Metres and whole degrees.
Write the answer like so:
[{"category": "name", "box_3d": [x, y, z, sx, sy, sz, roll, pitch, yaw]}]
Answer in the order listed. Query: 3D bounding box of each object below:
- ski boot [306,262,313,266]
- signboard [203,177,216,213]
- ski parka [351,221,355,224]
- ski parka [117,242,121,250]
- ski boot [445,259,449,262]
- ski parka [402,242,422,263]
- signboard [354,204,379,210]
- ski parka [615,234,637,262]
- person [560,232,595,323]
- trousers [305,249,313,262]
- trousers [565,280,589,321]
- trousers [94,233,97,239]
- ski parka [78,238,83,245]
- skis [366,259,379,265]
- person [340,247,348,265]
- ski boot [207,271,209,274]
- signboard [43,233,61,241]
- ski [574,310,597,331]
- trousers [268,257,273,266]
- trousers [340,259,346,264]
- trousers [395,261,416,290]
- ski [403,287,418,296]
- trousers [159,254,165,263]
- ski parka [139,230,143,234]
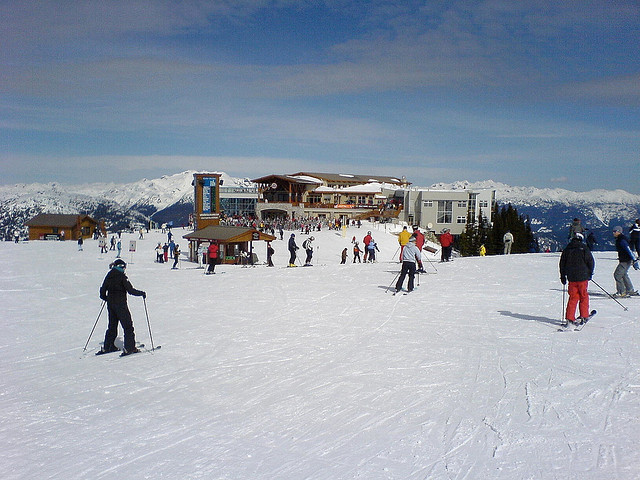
[{"category": "ski boot", "box_3d": [-0.657, 1.348, 35.377, 0.187, 0.260, 0.604, 1, -7, -24]}, {"category": "signboard", "box_3d": [-9.711, -4.010, 52.962, 1.210, 3.027, 0.672, -4, 6, -13]}, {"category": "ski parka", "box_3d": [4.238, -2.397, 77.008, 0.579, 0.259, 0.256, 5, 9, 25]}, {"category": "ski parka", "box_3d": [-13.506, 0.323, 40.642, 0.214, 0.289, 0.595, 19, -8, -22]}, {"category": "ski boot", "box_3d": [6.999, 1.072, 33.438, 0.165, 0.171, 0.297, 2, 8, -29]}, {"category": "ski parka", "box_3d": [3.299, 0.428, 22.076, 0.657, 0.602, 0.386, 10, 27, 31]}, {"category": "signboard", "box_3d": [7.543, -5.697, 100.043, 4.240, 0.741, 2.612, -3, 6, -8]}, {"category": "ski parka", "box_3d": [9.733, 0.195, 19.231, 0.245, 0.497, 0.901, -20, 2, 19]}, {"category": "person", "box_3d": [6.835, 1.032, 16.169, 0.794, 2.502, 0.841, 0, 7, 24]}, {"category": "trousers", "box_3d": [-0.653, 0.865, 35.422, 0.285, 0.743, 0.635, -2, 6, 0]}, {"category": "trousers", "box_3d": [7.020, 1.605, 16.546, 0.621, 1.562, 0.441, -4, -43, 24]}, {"category": "trousers", "box_3d": [-24.214, -0.590, 65.222, 0.278, 0.682, 2.276, -5, 6, -21]}, {"category": "ski parka", "box_3d": [-20.921, 0.052, 52.801, 0.234, 0.563, 0.524, -1, -8, 36]}, {"category": "skis", "box_3d": [3.079, 1.276, 36.221, 0.684, 0.278, 0.216, -3, -5, 41]}, {"category": "person", "box_3d": [1.701, 1.101, 43.833, 0.700, 1.439, 0.658, -9, 15, -25]}, {"category": "ski boot", "box_3d": [-6.020, 1.686, 32.460, 0.146, 0.144, 0.259, 1, -1, -7]}, {"category": "signboard", "box_3d": [-29.273, -0.506, 66.099, 2.563, 0.702, 0.598, 2, 7, 38]}, {"category": "ski", "box_3d": [7.278, 2.202, 16.628, 0.246, 0.617, 0.186, 45, -5, -11]}, {"category": "trousers", "box_3d": [-3.050, 1.238, 36.535, 0.218, 0.482, 0.717, -3, 6, -6]}, {"category": "trousers", "box_3d": [1.496, 1.390, 39.603, 0.326, 0.420, 0.166, 19, 38, 24]}, {"category": "trousers", "box_3d": [3.228, 1.265, 22.194, 0.652, 1.203, 1.060, 1, 7, 27]}, {"category": "ski", "box_3d": [3.410, 1.914, 22.936, 0.529, 0.057, 0.120, -21, -20, -9]}, {"category": "trousers", "box_3d": [-10.947, 1.191, 41.696, 0.288, 0.589, 0.860, -4, 6, -14]}, {"category": "ski parka", "box_3d": [-20.084, -1.025, 67.750, 0.361, 0.627, 0.534, 3, -7, -9]}]
